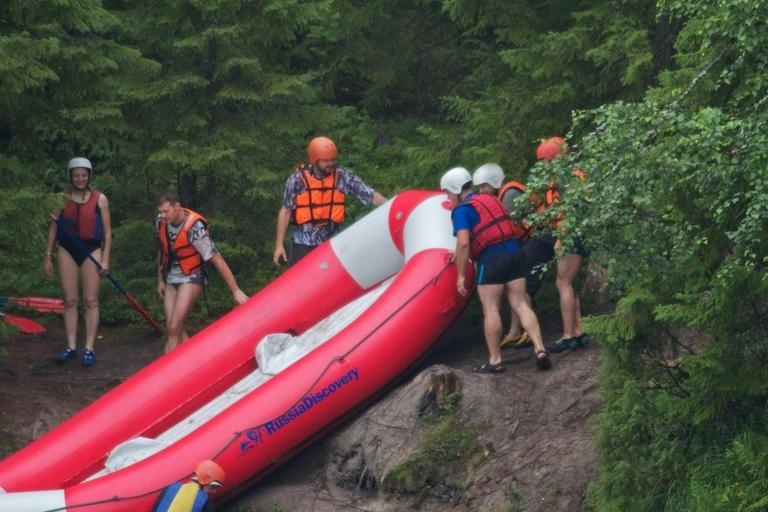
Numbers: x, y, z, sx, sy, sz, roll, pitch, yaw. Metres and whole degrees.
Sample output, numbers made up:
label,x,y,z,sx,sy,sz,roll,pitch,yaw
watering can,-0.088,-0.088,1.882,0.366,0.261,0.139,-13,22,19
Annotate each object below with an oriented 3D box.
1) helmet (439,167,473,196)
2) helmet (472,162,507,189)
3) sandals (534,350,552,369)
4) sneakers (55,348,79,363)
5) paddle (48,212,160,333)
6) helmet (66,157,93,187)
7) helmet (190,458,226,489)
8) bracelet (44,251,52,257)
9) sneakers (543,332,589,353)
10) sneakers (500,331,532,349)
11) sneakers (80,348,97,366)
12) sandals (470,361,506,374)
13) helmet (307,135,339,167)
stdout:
label,x,y,z,sx,sy,sz,roll,pitch,yaw
helmet,0.975,-1.027,17.861,0.393,0.330,0.288,-15,13,22
helmet,1.384,-1.064,18.118,0.383,0.326,0.286,-31,14,-7
sandals,2.061,1.330,17.467,0.209,0.269,0.106,7,7,6
sneakers,-4.587,1.419,19.487,0.124,0.162,0.360,2,2,24
paddle,-4.341,0.324,20.693,0.314,2.319,0.416,-36,20,27
helmet,-4.414,-1.225,19.403,0.349,0.463,0.476,-1,-8,-14
helmet,-2.107,2.590,16.209,0.341,0.283,0.270,2,2,-12
bracelet,-4.838,-0.036,19.427,0.098,0.038,0.185,-1,-28,-21
sneakers,2.414,1.108,17.924,0.576,0.261,0.219,-8,5,5
sneakers,1.810,1.154,18.442,0.472,0.217,0.176,-3,28,5
sneakers,-4.285,1.449,19.507,0.204,0.214,0.482,-1,4,-7
sandals,1.349,1.416,17.576,0.435,0.171,0.165,0,4,12
helmet,-0.887,-1.484,18.964,0.411,0.349,0.331,-7,10,36
